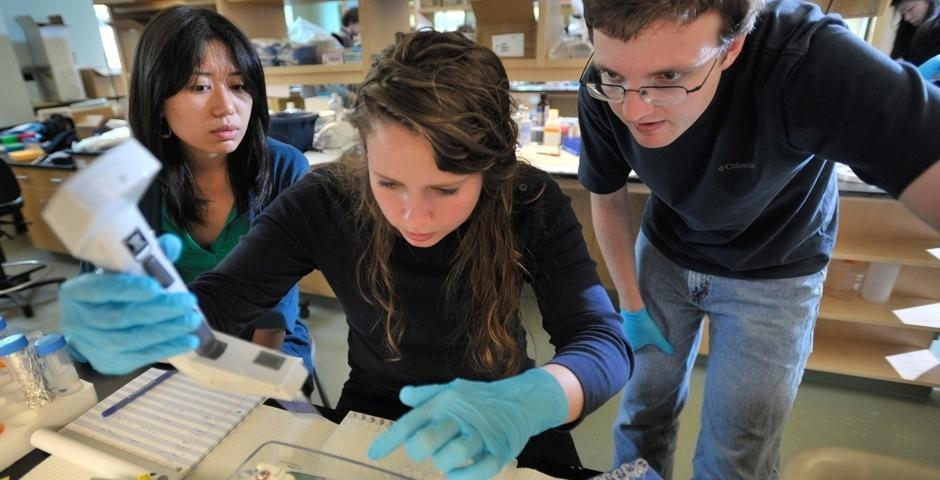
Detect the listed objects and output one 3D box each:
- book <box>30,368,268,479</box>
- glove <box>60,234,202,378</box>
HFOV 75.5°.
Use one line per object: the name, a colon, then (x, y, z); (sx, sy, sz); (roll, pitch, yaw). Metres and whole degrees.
book: (-1.429, 0.824, 2.747); (0.772, 0.276, 0.525); (8, 26, 23)
glove: (-1.385, 0.287, 2.625); (0.603, 0.447, 0.238); (-17, 19, 18)
